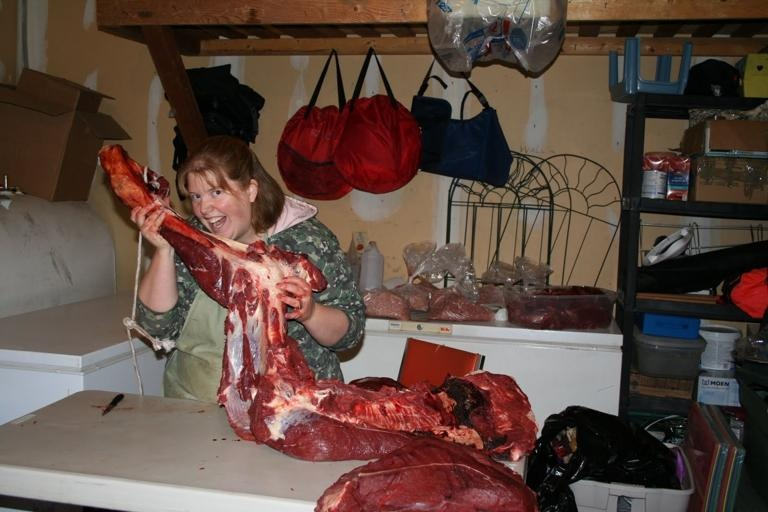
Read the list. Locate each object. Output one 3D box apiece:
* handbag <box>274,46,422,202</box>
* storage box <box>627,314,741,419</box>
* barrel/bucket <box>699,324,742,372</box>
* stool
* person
[{"bbox_3d":[-0.191,-0.866,4.168,0.965,1.067,0.352,-2,14,10],"label":"handbag"},{"bbox_3d":[1.692,0.696,3.857,0.590,0.751,0.531,3,2,10],"label":"storage box"},{"bbox_3d":[2.030,0.567,3.867,0.240,0.254,0.252,0,5,0],"label":"barrel/bucket"},{"bbox_3d":[1.608,-1.142,3.814,0.444,0.398,0.447,2,6,4],"label":"stool"},{"bbox_3d":[-0.582,0.080,2.752,0.977,1.173,0.445,2,5,9],"label":"person"}]
